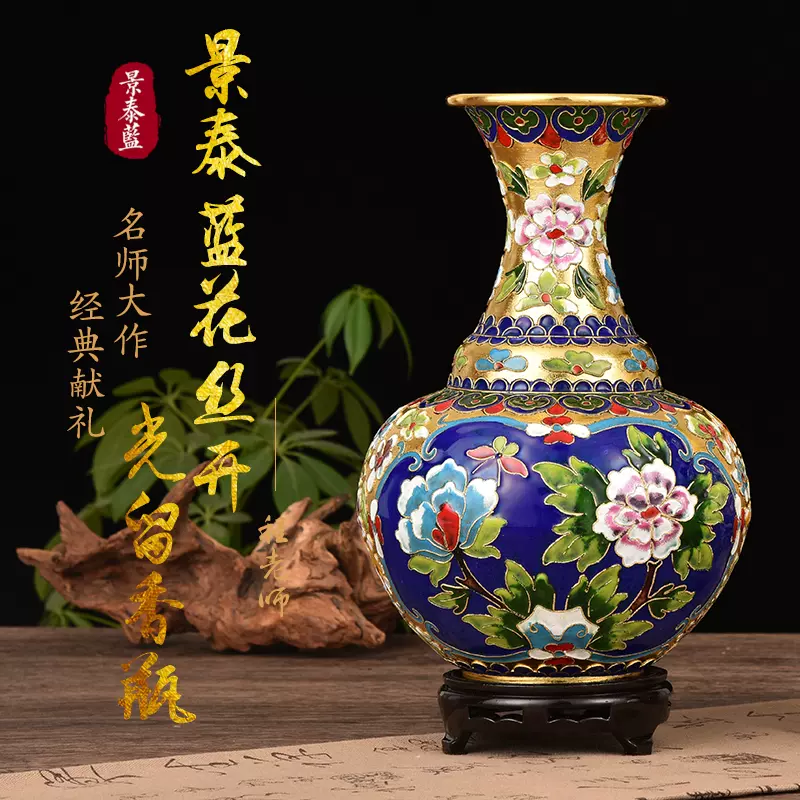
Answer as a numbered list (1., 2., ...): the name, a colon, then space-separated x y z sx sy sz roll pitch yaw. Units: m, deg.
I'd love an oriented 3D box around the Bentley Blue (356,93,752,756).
1. Bentley Blue: 0.204 -0.017 1.521 0.472 0.786 0.238 1 -8 6
